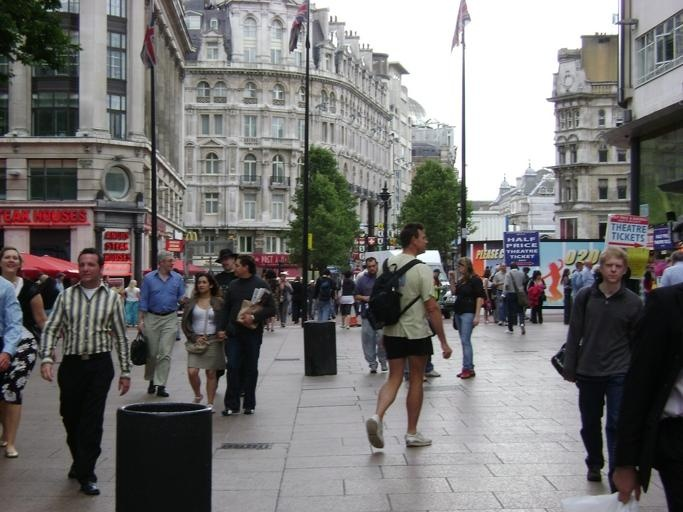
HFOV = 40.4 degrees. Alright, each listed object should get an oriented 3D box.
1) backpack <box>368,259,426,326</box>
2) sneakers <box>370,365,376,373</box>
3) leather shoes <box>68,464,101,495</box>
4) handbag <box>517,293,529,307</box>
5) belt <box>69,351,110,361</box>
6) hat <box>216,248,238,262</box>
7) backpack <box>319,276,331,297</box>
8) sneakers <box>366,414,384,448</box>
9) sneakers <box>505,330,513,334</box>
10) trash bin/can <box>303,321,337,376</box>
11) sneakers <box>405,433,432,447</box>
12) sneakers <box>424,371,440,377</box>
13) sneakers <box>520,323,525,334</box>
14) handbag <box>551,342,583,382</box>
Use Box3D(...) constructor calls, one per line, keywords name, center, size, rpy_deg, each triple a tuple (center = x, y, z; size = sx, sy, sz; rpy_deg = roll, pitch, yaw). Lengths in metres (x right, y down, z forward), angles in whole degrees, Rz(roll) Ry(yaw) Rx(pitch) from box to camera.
Box3D(name="backpack", center=(0.587, 0.424, 10.485), size=(0.587, 0.767, 0.348), rpy_deg=(-1, 1, -12))
Box3D(name="sneakers", center=(0.573, 2.040, 16.721), size=(0.115, 0.129, 0.118), rpy_deg=(2, 6, 1))
Box3D(name="leather shoes", center=(-2.532, 2.199, 9.018), size=(0.170, 0.251, 0.564), rpy_deg=(-4, 5, -41))
Box3D(name="handbag", center=(4.922, 1.175, 25.152), size=(0.249, 0.374, 0.247), rpy_deg=(-1, 1, 11))
Box3D(name="belt", center=(-2.498, 0.991, 9.210), size=(0.417, 0.076, 0.138), rpy_deg=(-1, 1, -26))
Box3D(name="hat", center=(-1.736, -0.013, 14.230), size=(0.250, 0.112, 0.288), rpy_deg=(-3, -4, 15))
Box3D(name="backpack", center=(-0.527, 1.086, 29.188), size=(0.363, 0.597, 0.606), rpy_deg=(2, -12, -1))
Box3D(name="sneakers", center=(0.370, 1.893, 9.969), size=(0.138, 0.395, 0.167), rpy_deg=(-2, 35, 18))
Box3D(name="sneakers", center=(4.641, 2.132, 25.684), size=(0.200, 0.098, 0.095), rpy_deg=(11, 12, 41))
Box3D(name="trash bin/can", center=(-0.361, 1.632, 16.410), size=(0.592, 0.973, 0.530), rpy_deg=(-1, 1, -9))
Box3D(name="sneakers", center=(0.863, 2.071, 10.421), size=(0.287, 0.144, 0.126), rpy_deg=(0, 1, -6))
Box3D(name="sneakers", center=(1.552, 2.018, 15.841), size=(0.245, 0.107, 0.093), rpy_deg=(0, 2, -5))
Box3D(name="sneakers", center=(4.877, 1.974, 24.869), size=(0.107, 0.255, 0.339), rpy_deg=(-1, 1, 3))
Box3D(name="handbag", center=(2.264, 1.068, 9.217), size=(0.115, 0.302, 0.298), rpy_deg=(13, 20, -14))
